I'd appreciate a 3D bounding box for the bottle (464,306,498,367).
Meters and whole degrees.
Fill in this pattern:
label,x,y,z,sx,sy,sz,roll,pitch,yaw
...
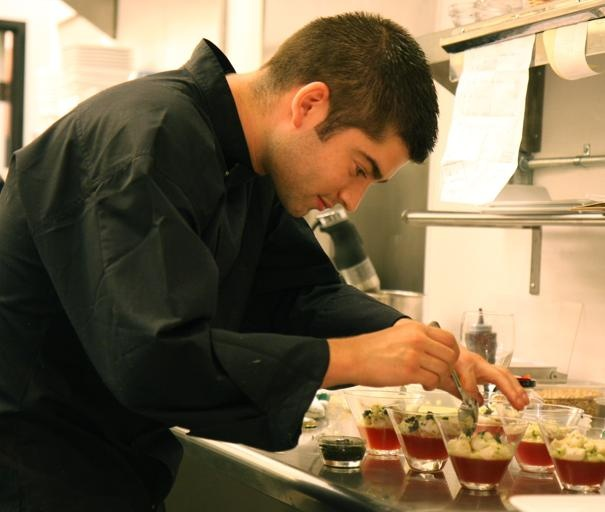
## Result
label,x,y,z,sx,sy,sz,roll,pitch,yaw
bottle,0.513,0.239,1.764,0.092,0.165,0.093,1,-7,0

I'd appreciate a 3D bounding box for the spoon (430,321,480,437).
label,x,y,z,sx,sy,sz,roll,pitch,yaw
spoon,0.284,0.237,1.244,0.047,0.033,0.266,20,35,-30
